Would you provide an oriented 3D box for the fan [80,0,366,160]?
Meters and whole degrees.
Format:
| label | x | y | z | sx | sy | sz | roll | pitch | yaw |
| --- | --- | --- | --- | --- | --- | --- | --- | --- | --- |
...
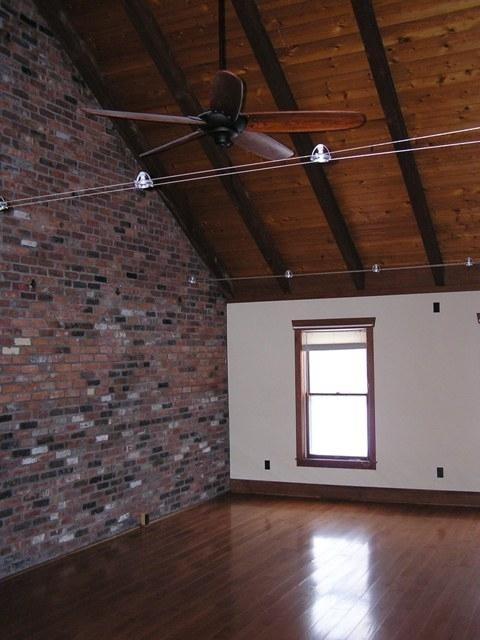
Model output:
| label | x | y | z | sx | sy | sz | roll | pitch | yaw |
| --- | --- | --- | --- | --- | --- | --- | --- | --- | --- |
| fan | -0.001 | -0.734 | 1.920 | 0.857 | 0.209 | 0.653 | 5 | -11 | -34 |
